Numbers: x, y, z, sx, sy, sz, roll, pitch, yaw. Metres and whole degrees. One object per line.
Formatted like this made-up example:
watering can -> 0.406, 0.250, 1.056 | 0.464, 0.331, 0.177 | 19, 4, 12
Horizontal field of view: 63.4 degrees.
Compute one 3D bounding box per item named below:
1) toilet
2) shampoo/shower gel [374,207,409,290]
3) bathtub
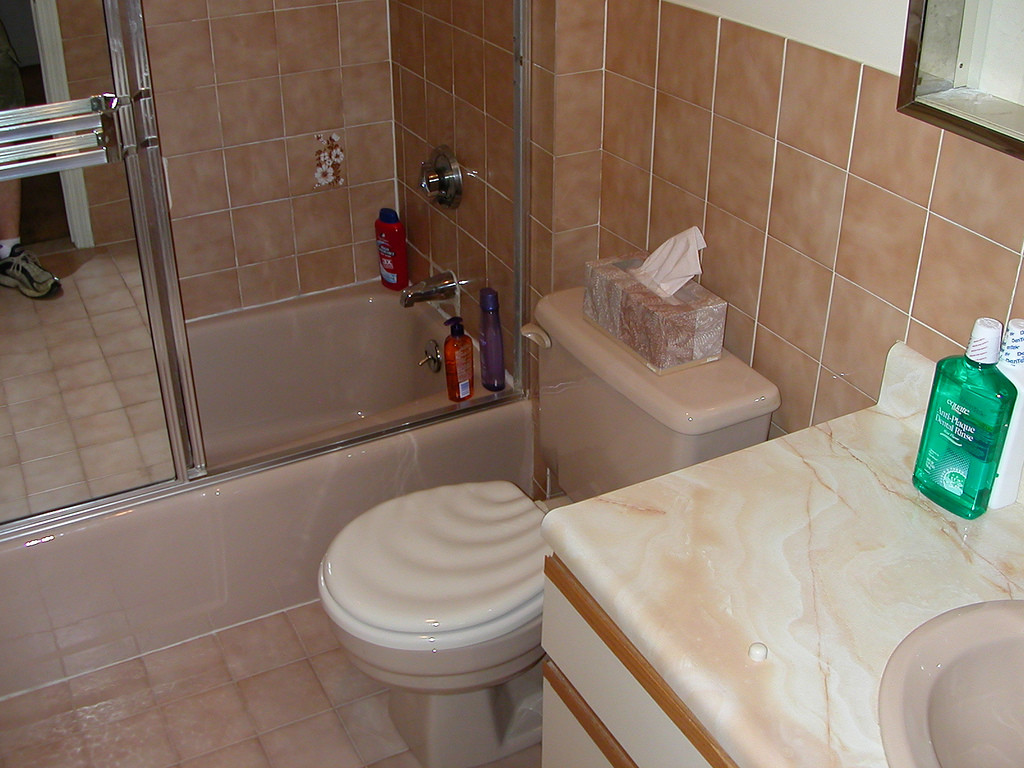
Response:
toilet -> -0.022, 0.328, 1.771 | 0.971, 1.074, 0.528 | -12, 26, -25
shampoo/shower gel -> -0.376, -0.427, 2.621 | 0.095, 0.230, 0.125 | -6, 34, -8
bathtub -> -0.570, -0.033, 2.583 | 0.726, 0.269, 0.514 | -15, 37, -25
